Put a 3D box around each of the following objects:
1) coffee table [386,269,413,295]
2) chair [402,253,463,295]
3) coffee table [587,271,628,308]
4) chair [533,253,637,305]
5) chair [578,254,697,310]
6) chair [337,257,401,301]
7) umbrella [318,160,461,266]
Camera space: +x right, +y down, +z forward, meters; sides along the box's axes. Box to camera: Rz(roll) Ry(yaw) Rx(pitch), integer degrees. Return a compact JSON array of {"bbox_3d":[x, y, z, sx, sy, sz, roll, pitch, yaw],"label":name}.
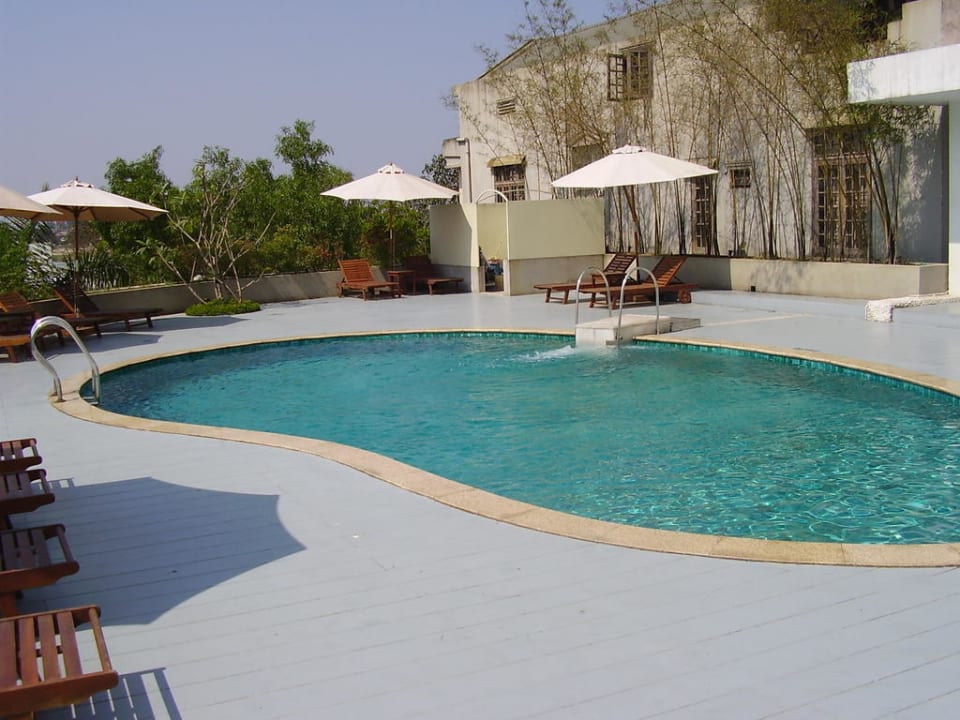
[{"bbox_3d":[-2.057,-1.991,17.933,0.736,0.629,0.723,1,8,34],"label":"coffee table"},{"bbox_3d":[-1.290,-2.230,18.248,0.931,0.796,1.690,-10,17,-31],"label":"chair"},{"bbox_3d":[2.654,-1.432,14.273,0.637,0.291,1.284,0,13,3],"label":"coffee table"},{"bbox_3d":[2.578,-1.900,15.647,2.703,0.904,1.078,-8,12,-40],"label":"chair"},{"bbox_3d":[3.242,-1.553,14.345,2.440,0.905,1.359,-3,10,-20],"label":"chair"},{"bbox_3d":[-2.879,-2.073,17.767,1.075,0.707,1.619,-8,13,-34],"label":"chair"},{"bbox_3d":[-2.309,-3.579,17.989,3.418,2.071,3.059,-1,10,0],"label":"umbrella"}]
